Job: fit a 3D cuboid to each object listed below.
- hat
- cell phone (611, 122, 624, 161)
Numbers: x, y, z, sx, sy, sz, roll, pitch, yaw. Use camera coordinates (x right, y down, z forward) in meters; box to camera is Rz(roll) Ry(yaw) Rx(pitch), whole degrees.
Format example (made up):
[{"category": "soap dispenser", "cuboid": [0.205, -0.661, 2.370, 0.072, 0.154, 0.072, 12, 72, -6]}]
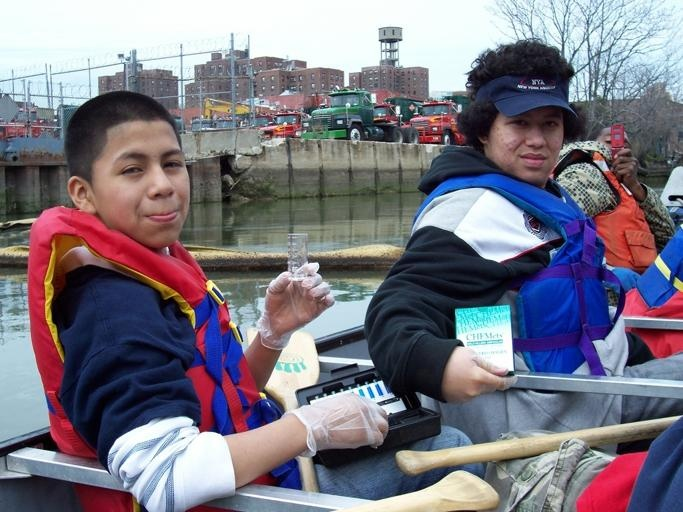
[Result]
[{"category": "hat", "cuboid": [0.848, -0.679, 2.898, 0.369, 0.152, 0.499, 0, 5, 6]}, {"category": "cell phone", "cuboid": [2.056, -0.877, 4.932, 0.090, 0.208, 0.024, 3, -25, 15]}]
